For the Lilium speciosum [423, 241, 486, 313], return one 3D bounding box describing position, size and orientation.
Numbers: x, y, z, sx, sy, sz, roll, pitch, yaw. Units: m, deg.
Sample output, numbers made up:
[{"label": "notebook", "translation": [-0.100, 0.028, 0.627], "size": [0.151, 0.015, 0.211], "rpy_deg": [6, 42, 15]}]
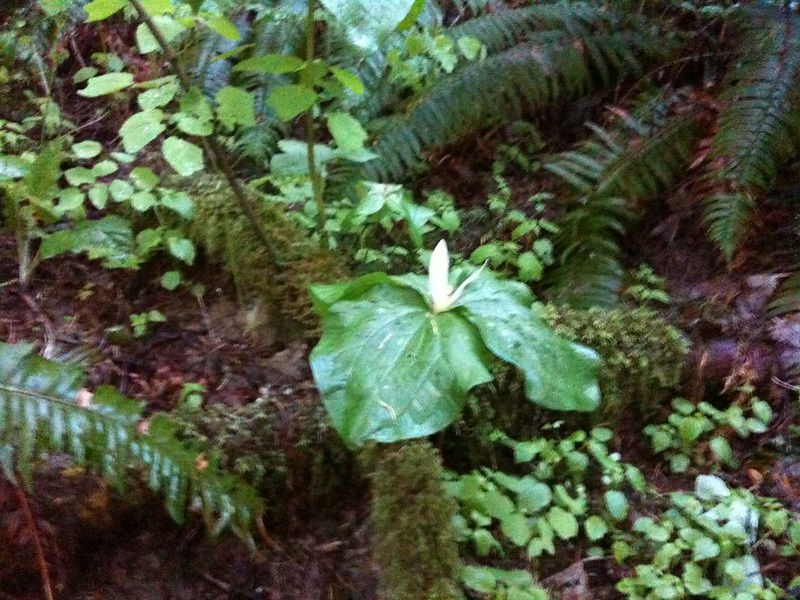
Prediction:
[{"label": "Lilium speciosum", "translation": [0.226, -0.098, 3.711], "size": [0.212, 0.238, 0.293], "rpy_deg": [22, 44, 4]}]
